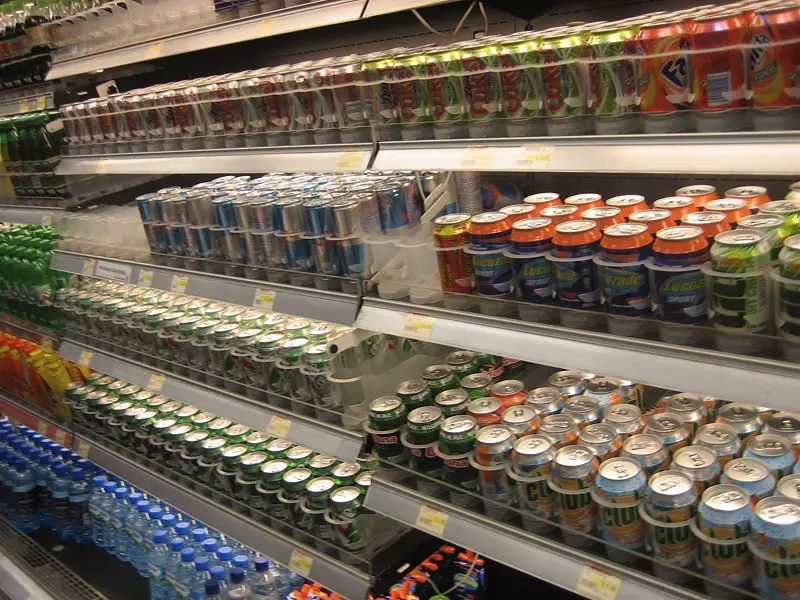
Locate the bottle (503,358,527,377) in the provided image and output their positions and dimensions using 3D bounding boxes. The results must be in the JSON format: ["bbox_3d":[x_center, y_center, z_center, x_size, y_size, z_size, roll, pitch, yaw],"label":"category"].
[{"bbox_3d":[0.383,0.223,2.104,0.100,0.055,0.079,1,17,21],"label":"bottle"}]

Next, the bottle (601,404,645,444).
[{"bbox_3d":[0.591,0.316,1.628,0.122,0.077,0.098,1,28,27],"label":"bottle"}]

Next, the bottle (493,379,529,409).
[{"bbox_3d":[0.323,0.271,1.829,0.111,0.048,0.084,-11,7,5],"label":"bottle"}]

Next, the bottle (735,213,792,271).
[{"bbox_3d":[0.793,-0.132,1.435,0.166,0.098,0.123,-5,20,12],"label":"bottle"}]

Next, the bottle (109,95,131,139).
[{"bbox_3d":[-1.178,-0.766,2.602,0.065,0.152,0.223,-12,20,-37],"label":"bottle"}]

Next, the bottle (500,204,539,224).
[{"bbox_3d":[0.326,-0.231,1.676,0.063,0.074,0.048,-26,28,7],"label":"bottle"}]

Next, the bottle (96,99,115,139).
[{"bbox_3d":[-1.263,-0.775,2.677,0.055,0.150,0.139,-21,18,-32],"label":"bottle"}]

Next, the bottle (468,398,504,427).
[{"bbox_3d":[0.247,0.312,1.775,0.114,0.045,0.086,-11,7,4],"label":"bottle"}]

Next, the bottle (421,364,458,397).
[{"bbox_3d":[0.125,0.244,1.940,0.138,0.082,0.097,-1,28,8],"label":"bottle"}]

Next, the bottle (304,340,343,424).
[{"bbox_3d":[-0.271,0.277,2.117,0.145,0.269,0.082,0,-11,22],"label":"bottle"}]

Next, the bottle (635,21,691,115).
[{"bbox_3d":[0.592,-0.516,1.388,0.106,0.193,0.080,1,-10,18],"label":"bottle"}]

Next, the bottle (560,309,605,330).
[{"bbox_3d":[0.459,0.045,1.575,0.091,0.047,0.068,-6,9,-12],"label":"bottle"}]

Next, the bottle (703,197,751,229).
[{"bbox_3d":[0.800,-0.208,1.517,0.129,0.029,0.089,-8,20,-5],"label":"bottle"}]

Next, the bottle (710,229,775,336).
[{"bbox_3d":[0.737,-0.045,1.347,0.121,0.226,0.096,0,-10,23],"label":"bottle"}]

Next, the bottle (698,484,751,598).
[{"bbox_3d":[0.724,0.523,1.382,0.108,0.231,0.113,3,-9,1],"label":"bottle"}]

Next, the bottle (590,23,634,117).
[{"bbox_3d":[0.500,-0.531,1.458,0.103,0.197,0.093,1,-10,16],"label":"bottle"}]

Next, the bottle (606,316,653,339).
[{"bbox_3d":[0.551,0.063,1.495,0.086,0.030,0.071,2,11,24],"label":"bottle"}]

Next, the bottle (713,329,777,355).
[{"bbox_3d":[0.749,0.092,1.358,0.088,0.033,0.081,-3,14,1],"label":"bottle"}]

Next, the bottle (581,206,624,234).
[{"bbox_3d":[0.521,-0.204,1.584,0.105,0.027,0.096,-5,24,2],"label":"bottle"}]

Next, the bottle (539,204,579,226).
[{"bbox_3d":[0.436,-0.222,1.652,0.091,0.056,0.072,3,28,25],"label":"bottle"}]

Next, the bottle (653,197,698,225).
[{"bbox_3d":[0.695,-0.230,1.552,0.124,0.030,0.093,-6,17,2],"label":"bottle"}]

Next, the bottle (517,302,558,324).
[{"bbox_3d":[0.361,0.032,1.635,0.087,0.032,0.075,-8,14,-32],"label":"bottle"}]

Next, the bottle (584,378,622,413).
[{"bbox_3d":[0.577,0.263,1.761,0.116,0.075,0.092,-21,5,-8],"label":"bottle"}]

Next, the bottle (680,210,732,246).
[{"bbox_3d":[0.716,-0.168,1.448,0.125,0.025,0.097,-12,23,-12],"label":"bottle"}]

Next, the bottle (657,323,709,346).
[{"bbox_3d":[0.648,0.076,1.420,0.093,0.031,0.069,-2,11,-12],"label":"bottle"}]

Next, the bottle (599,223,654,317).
[{"bbox_3d":[0.542,-0.078,1.488,0.121,0.228,0.093,2,-10,12],"label":"bottle"}]

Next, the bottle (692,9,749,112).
[{"bbox_3d":[0.683,-0.505,1.328,0.105,0.194,0.086,0,-10,19],"label":"bottle"}]

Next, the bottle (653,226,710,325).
[{"bbox_3d":[0.639,-0.064,1.415,0.124,0.228,0.090,1,-10,16],"label":"bottle"}]
